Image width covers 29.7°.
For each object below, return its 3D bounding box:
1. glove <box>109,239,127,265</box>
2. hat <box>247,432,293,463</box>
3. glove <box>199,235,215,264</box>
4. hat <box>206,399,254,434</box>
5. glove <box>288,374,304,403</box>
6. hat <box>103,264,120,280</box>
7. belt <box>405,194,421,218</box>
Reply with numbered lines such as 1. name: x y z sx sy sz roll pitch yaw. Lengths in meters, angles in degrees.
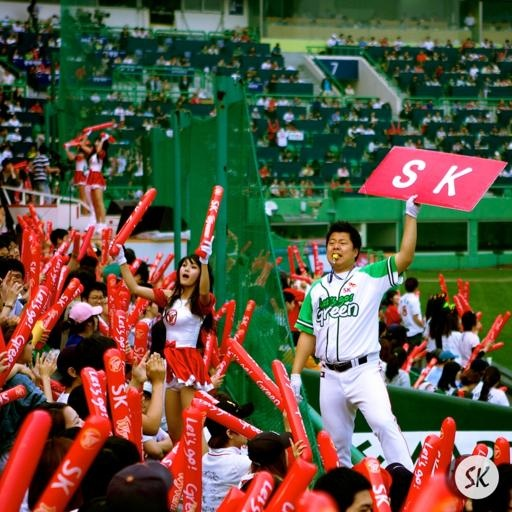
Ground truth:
1. glove: -0.786 -0.022 5.568 0.043 0.122 0.099 -15 5 -25
2. hat: 0.065 0.817 4.130 0.160 0.094 0.111 -31 40 -17
3. glove: -0.263 -0.027 5.289 0.035 0.137 0.084 5 5 -17
4. hat: -0.125 0.792 4.718 0.213 0.122 0.137 -29 32 -26
5. glove: 0.214 0.682 5.093 0.053 0.183 0.046 -4 5 41
6. hat: -1.031 0.117 6.946 0.120 0.121 0.096 -6 9 -7
7. belt: 0.838 -0.251 5.155 0.071 0.112 0.252 4 19 10
